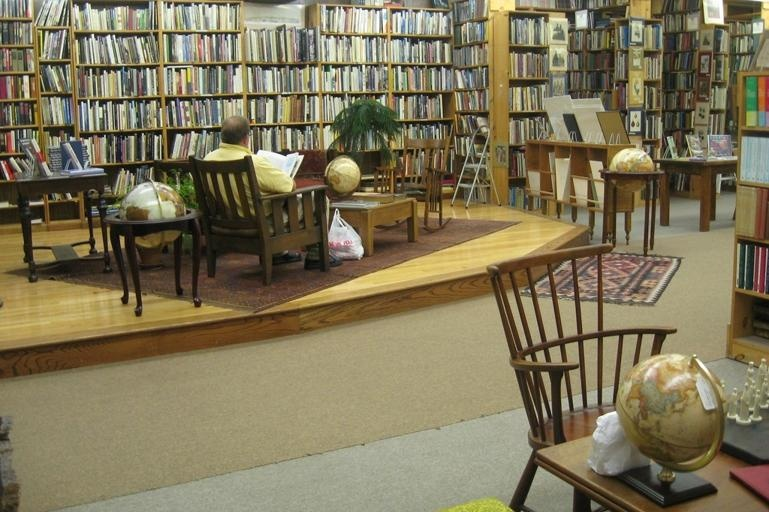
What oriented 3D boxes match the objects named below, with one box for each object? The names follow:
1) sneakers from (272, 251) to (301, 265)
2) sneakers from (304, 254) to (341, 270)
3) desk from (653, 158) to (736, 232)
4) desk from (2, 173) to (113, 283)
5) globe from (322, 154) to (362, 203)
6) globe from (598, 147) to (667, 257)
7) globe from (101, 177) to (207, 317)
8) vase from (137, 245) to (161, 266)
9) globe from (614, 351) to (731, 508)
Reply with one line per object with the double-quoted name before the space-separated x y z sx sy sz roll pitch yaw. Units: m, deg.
"sneakers" -0.991 0.018 6.102 0.316 0.123 0.116 -8 12 -26
"sneakers" -0.591 0.048 5.801 0.341 0.134 0.149 -1 10 -6
"desk" 4.761 -0.915 9.123 1.135 0.818 0.722 -10 15 -41
"desk" -3.753 -0.300 6.766 0.991 0.975 1.002 -8 18 -25
"globe" -0.403 -0.858 6.542 0.416 0.421 0.258 -5 5 9
"globe" 3.001 -0.641 7.298 0.753 1.252 0.785 -4 9 -21
"globe" -1.881 -0.079 4.909 0.768 1.027 0.764 -6 9 -24
"vase" -2.369 0.000 6.019 0.203 0.163 0.204 -1 6 -14
"globe" 1.000 0.599 2.090 0.337 0.531 0.197 0 13 23
